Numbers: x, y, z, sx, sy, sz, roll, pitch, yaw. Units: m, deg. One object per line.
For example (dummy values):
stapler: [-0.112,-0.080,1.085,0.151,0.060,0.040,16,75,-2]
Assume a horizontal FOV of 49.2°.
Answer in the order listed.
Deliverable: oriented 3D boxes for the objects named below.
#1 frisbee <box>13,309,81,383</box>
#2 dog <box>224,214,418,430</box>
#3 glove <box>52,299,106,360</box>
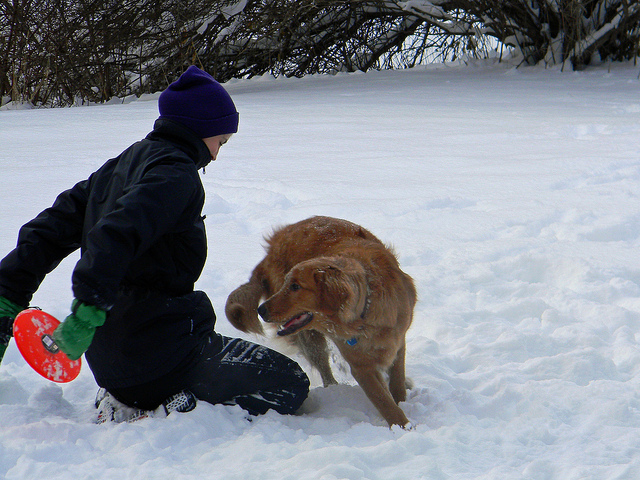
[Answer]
frisbee: [-1.747,0.666,4.442,0.089,0.515,0.528,-39,-32,6]
dog: [0.191,0.721,5.364,0.700,1.074,2.171,-1,-1,30]
glove: [-1.465,0.499,4.247,0.257,0.383,0.113,31,7,-27]
